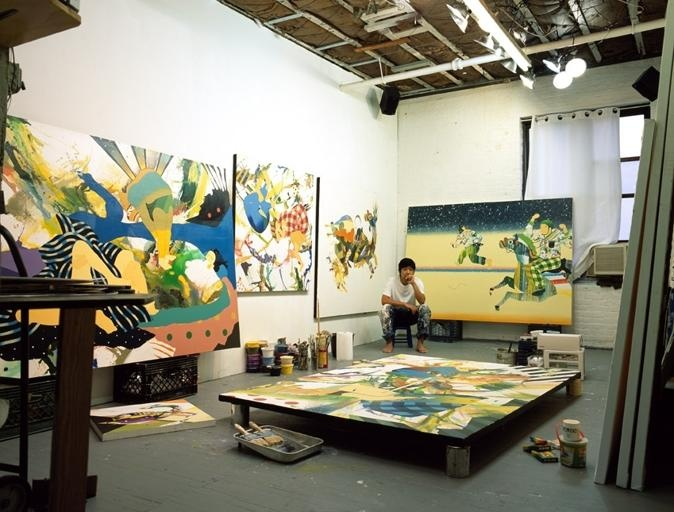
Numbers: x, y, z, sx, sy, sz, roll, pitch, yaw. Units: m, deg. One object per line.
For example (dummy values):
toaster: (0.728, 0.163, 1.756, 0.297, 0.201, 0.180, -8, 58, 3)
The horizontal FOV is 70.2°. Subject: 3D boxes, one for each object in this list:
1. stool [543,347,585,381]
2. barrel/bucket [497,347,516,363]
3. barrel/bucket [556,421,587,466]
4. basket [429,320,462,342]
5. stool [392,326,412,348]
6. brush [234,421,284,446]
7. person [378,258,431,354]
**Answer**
stool: (2.229, 1.111, 4.702, 0.463, 0.327, 0.273, -1, -3, 30)
barrel/bucket: (1.823, 1.091, 5.171, 0.186, 0.141, 0.285, 1, 3, 20)
barrel/bucket: (1.345, 1.049, 2.745, 0.150, 0.242, 0.213, 1, 3, 28)
basket: (1.683, 1.129, 7.374, 0.495, 0.326, 0.362, 0, 3, 12)
stool: (0.958, 1.193, 6.990, 0.312, 0.303, 0.323, -2, -3, 18)
brush: (-0.460, 1.104, 2.934, 0.200, 0.037, 0.132, 4, -2, 35)
person: (0.932, 0.651, 6.608, 0.656, 1.213, 0.856, 0, 2, 7)
